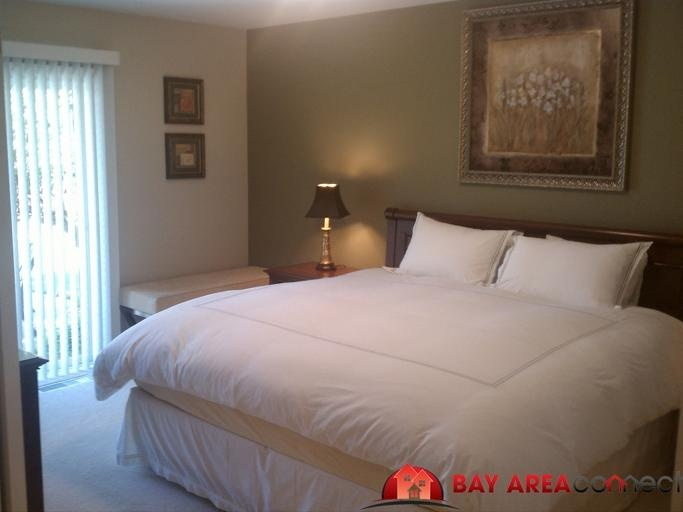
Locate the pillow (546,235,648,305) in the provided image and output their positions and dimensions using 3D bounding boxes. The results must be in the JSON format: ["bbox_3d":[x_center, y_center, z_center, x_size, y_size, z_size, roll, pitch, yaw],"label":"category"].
[{"bbox_3d":[1.607,0.105,3.310,0.353,0.403,0.108,13,2,40],"label":"pillow"}]

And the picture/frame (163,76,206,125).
[{"bbox_3d":[-1.479,-1.454,4.884,0.049,0.489,0.439,8,9,43],"label":"picture/frame"}]

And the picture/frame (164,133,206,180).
[{"bbox_3d":[-1.494,-0.951,4.946,0.044,0.444,0.398,8,10,43],"label":"picture/frame"}]
